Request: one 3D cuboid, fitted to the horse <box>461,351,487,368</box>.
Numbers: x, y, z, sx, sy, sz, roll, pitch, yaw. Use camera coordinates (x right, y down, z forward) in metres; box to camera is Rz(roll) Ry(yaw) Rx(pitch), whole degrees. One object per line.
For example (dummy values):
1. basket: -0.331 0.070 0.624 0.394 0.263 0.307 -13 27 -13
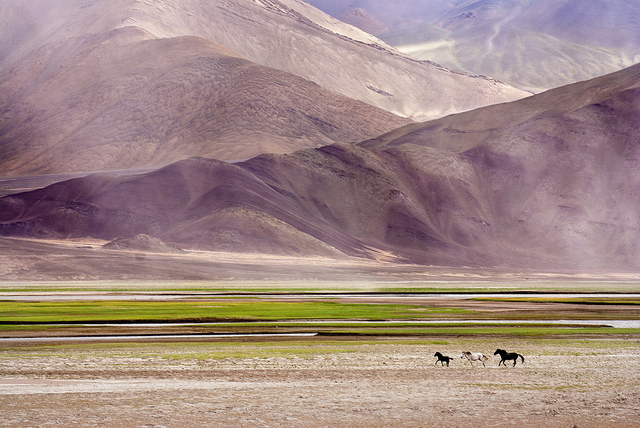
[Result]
1. horse: 7.250 6.748 33.299 1.070 0.674 1.206 1 3 5
